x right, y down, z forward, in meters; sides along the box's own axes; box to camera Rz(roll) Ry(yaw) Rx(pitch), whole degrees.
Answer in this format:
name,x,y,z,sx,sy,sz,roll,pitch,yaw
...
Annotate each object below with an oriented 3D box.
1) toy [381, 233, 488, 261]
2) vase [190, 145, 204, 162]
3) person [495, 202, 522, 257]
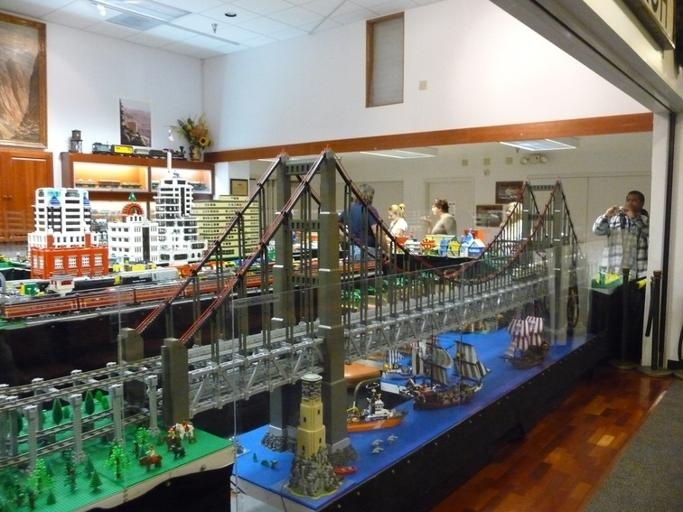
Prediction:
name,x,y,z,sx,sy,sz,roll,pitch,yaw
toy,1.323,-0.131,6.749,0.786,0.207,0.569,4,7,36
vase,-2.876,-2.073,10.512,0.273,0.302,0.282,4,12,23
person,1.571,-0.285,4.835,0.223,0.422,1.366,-3,5,19
